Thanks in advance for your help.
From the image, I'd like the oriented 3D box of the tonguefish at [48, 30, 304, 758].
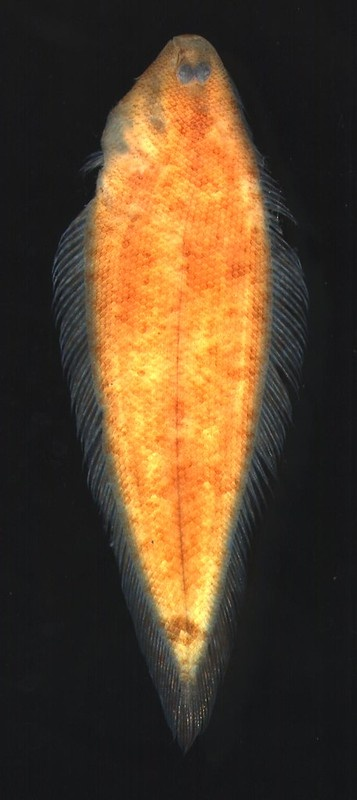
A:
[{"bbox_3d":[0.001,-0.013,2.454,0.542,1.503,0.238,0,6,-10],"label":"tonguefish"}]
